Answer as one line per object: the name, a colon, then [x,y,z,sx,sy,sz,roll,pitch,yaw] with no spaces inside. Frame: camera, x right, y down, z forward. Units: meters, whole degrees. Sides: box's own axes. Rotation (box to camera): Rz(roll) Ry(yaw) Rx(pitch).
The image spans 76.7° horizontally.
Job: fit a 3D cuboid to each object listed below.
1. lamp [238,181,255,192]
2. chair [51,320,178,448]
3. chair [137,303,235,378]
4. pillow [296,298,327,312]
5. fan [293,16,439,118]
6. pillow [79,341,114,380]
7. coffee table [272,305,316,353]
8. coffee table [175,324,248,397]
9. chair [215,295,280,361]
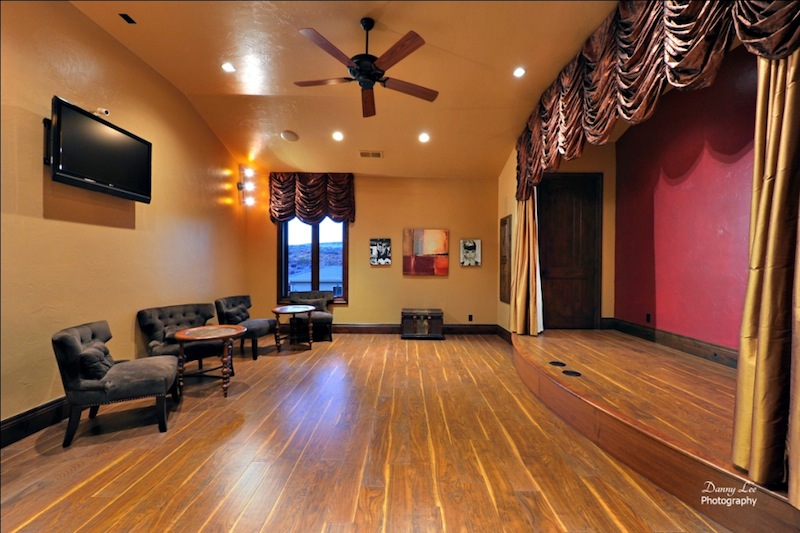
lamp: [-2.729,-1.393,8.936,0.114,0.192,0.376,6,11,28]
chair: [-3.085,1.304,5.872,1.186,1.378,1.261,-1,0,-17]
chair: [-2.831,0.939,6.587,0.890,0.942,0.941,-12,-14,38]
pillow: [-1.489,0.635,8.647,0.343,0.266,0.100,2,-14,3]
fan: [-0.325,-2.304,5.784,1.464,1.014,1.337,2,10,9]
pillow: [-3.120,0.983,5.276,0.120,0.333,0.318,-22,32,15]
coffee table: [-1.673,0.953,8.017,0.634,0.547,0.731,0,-2,-3]
coffee table: [-2.395,1.146,6.350,0.748,0.648,0.872,-1,-1,-27]
chair: [-2.386,0.903,7.772,0.914,1.034,0.901,-1,-2,12]
